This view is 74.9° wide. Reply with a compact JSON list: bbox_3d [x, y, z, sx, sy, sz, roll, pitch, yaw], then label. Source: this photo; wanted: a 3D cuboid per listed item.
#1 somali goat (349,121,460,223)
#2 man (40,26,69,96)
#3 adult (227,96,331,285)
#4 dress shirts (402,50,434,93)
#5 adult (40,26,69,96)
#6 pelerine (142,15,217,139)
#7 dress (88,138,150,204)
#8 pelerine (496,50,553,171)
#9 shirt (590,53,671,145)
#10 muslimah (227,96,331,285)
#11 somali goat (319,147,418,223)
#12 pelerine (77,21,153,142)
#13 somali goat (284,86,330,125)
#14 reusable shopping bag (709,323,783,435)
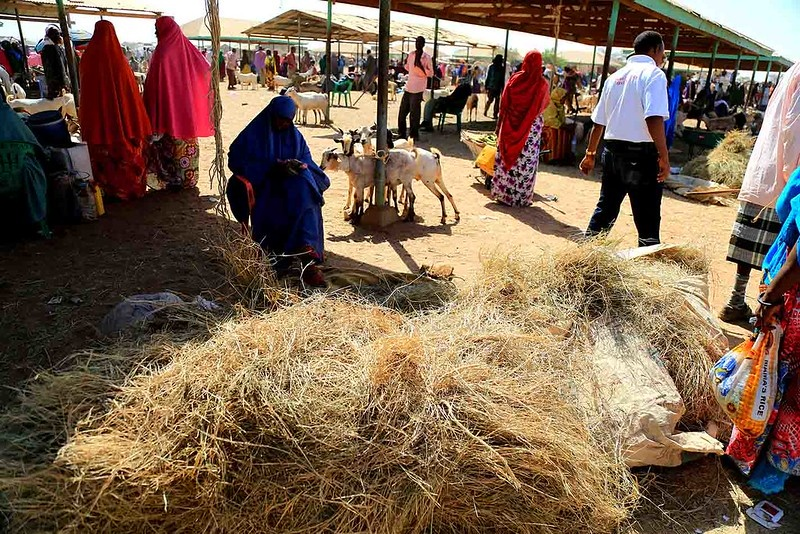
[{"bbox_3d":[0.085,-1.411,7.712,1.712,1.132,0.437,18,33,41],"label":"somali goat"},{"bbox_3d":[-8.166,-4.755,12.250,0.540,1.620,1.633,-11,28,-30],"label":"man"},{"bbox_3d":[-1.170,-0.821,5.184,0.750,1.566,1.096,-15,30,-35],"label":"adult"},{"bbox_3d":[0.318,-4.278,11.717,0.776,0.893,0.464,4,3,19],"label":"dress shirts"},{"bbox_3d":[-8.167,-4.749,12.264,0.546,1.641,1.708,-11,28,-31],"label":"adult"},{"bbox_3d":[-3.066,-2.553,7.181,0.916,1.583,0.542,-13,29,-33],"label":"pelerine"},{"bbox_3d":[-3.827,-1.329,7.114,0.635,0.778,0.754,12,17,15],"label":"dress"},{"bbox_3d":[1.851,-2.296,7.839,0.652,1.764,0.568,9,24,6],"label":"pelerine"},{"bbox_3d":[2.301,-1.642,5.167,0.420,0.804,0.842,-5,13,-22],"label":"shirt"},{"bbox_3d":[-1.168,-0.817,5.182,0.750,1.570,1.104,-15,30,-35],"label":"muslimah"},{"bbox_3d":[-0.385,-1.103,7.029,1.350,0.929,0.447,-2,17,-12],"label":"somali goat"},{"bbox_3d":[-3.653,-2.287,6.645,0.760,1.541,0.510,-8,7,-33],"label":"pelerine"},{"bbox_3d":[-2.505,-4.252,13.939,1.325,0.868,0.340,-13,28,-39],"label":"somali goat"},{"bbox_3d":[2.284,0.729,3.417,0.398,0.761,0.261,17,27,27],"label":"reusable shopping bag"}]
